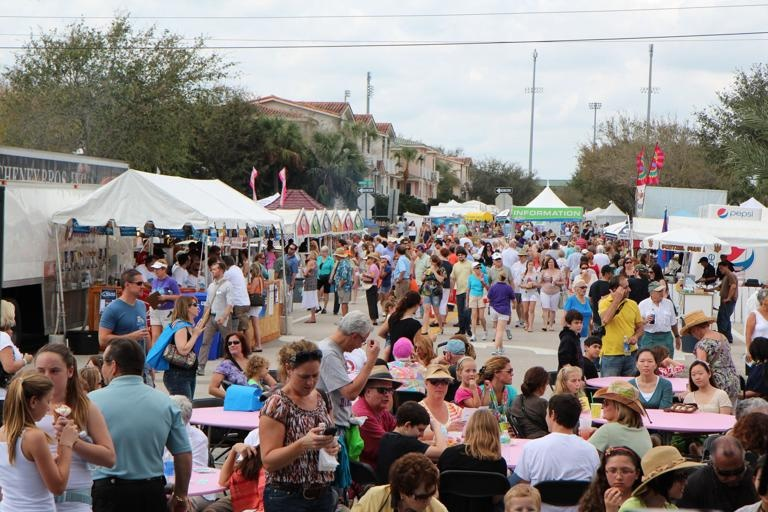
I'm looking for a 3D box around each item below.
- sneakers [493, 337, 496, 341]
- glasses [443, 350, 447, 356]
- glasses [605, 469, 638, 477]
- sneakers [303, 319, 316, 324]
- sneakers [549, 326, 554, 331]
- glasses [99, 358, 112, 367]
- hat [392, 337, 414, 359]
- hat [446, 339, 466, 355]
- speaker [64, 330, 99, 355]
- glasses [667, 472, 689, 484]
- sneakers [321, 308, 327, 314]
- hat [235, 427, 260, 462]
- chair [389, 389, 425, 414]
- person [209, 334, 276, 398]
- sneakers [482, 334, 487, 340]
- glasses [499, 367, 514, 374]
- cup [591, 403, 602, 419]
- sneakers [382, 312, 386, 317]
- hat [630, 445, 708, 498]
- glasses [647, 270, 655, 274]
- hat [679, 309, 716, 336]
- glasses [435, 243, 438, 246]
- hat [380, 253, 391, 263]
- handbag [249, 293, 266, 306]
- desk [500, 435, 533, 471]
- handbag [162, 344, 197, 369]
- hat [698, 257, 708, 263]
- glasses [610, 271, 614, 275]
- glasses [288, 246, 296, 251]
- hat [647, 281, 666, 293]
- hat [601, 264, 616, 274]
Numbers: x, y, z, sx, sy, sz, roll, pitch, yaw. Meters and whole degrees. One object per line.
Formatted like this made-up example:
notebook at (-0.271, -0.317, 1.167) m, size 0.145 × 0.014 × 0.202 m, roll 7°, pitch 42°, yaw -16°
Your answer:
sneakers at (2.840, 2.158, 31.394) m, size 0.060 × 0.084 × 0.189 m, roll -1°, pitch -7°, yaw 6°
glasses at (1.197, 1.911, 23.877) m, size 0.062 × 0.069 × 0.029 m, roll 8°, pitch 0°, yaw 42°
glasses at (3.894, 3.510, 19.667) m, size 0.433 × 0.085 × 0.085 m, roll 1°, pitch 0°, yaw -10°
sneakers at (-2.075, 1.803, 33.646) m, size 0.336 × 0.147 × 0.119 m, roll 4°, pitch 1°, yaw 7°
sneakers at (4.494, 1.942, 32.731) m, size 0.042 × 0.118 × 0.077 m, roll -10°, pitch 40°, yaw -14°
glasses at (-4.647, 1.769, 20.185) m, size 0.216 × 0.073 × 0.227 m, roll 4°, pitch -2°, yaw -3°
hat at (0.371, 1.788, 23.736) m, size 0.280 × 0.238 × 0.437 m, roll 0°, pitch 34°, yaw 5°
hat at (1.400, 1.788, 23.739) m, size 0.343 × 0.184 × 0.247 m, roll 9°, pitch 19°, yaw 42°
speaker at (-7.156, 2.054, 28.781) m, size 0.604 × 0.483 × 0.597 m, roll 0°, pitch -2°, yaw 10°
glasses at (4.710, 3.505, 19.389) m, size 0.287 × 0.181 × 0.084 m, roll 1°, pitch 0°, yaw -28°
sneakers at (-1.761, 1.602, 35.215) m, size 0.117 × 0.122 × 0.282 m, roll 0°, pitch -7°, yaw -6°
hat at (-2.311, 3.188, 20.827) m, size 0.422 × 0.632 × 0.240 m, roll 0°, pitch -15°, yaw -9°
chair at (0.402, 2.819, 23.083) m, size 0.463 × 0.379 × 0.460 m, roll 2°, pitch 1°, yaw 2°
person at (-2.752, 2.167, 23.749) m, size 1.279 × 1.477 × 0.991 m, roll -2°, pitch -13°, yaw -1°
sneakers at (2.611, 2.109, 31.627) m, size 0.111 × 0.154 × 0.347 m, roll -1°, pitch 1°, yaw 10°
glasses at (2.319, 2.150, 22.830) m, size 0.153 × 0.114 × 0.576 m, roll 1°, pitch 0°, yaw 16°
cup at (3.992, 2.919, 22.816) m, size 0.222 × 0.251 × 0.236 m, roll 1°, pitch 0°, yaw 0°
sneakers at (-0.023, 1.647, 34.122) m, size 0.088 × 0.119 × 0.271 m, roll 0°, pitch -7°, yaw -10°
hat at (4.489, 3.461, 19.603) m, size 0.964 × 0.630 × 0.567 m, roll 1°, pitch 0°, yaw 2°
glasses at (6.172, 0.375, 28.111) m, size 0.097 × 0.078 × 0.075 m, roll 6°, pitch -5°, yaw -38°
hat at (6.276, 1.310, 24.530) m, size 0.637 × 0.258 × 0.576 m, roll -29°, pitch -7°, yaw 18°
glasses at (1.541, -0.337, 35.989) m, size 0.072 × 0.091 × 0.125 m, roll 1°, pitch -9°, yaw -6°
hat at (0.040, 0.050, 34.552) m, size 0.286 × 0.110 × 0.201 m, roll 22°, pitch -11°, yaw -37°
handbag at (-3.061, 1.035, 28.957) m, size 0.277 × 0.290 × 0.123 m, roll 0°, pitch -11°, yaw 0°
desk at (2.301, 3.530, 21.641) m, size 0.457 × 0.385 × 1.078 m, roll 1°, pitch 0°, yaw 12°
handbag at (-3.972, 1.977, 23.553) m, size 0.517 × 0.435 × 0.207 m, roll 7°, pitch 4°, yaw -16°
hat at (8.855, 0.122, 33.833) m, size 0.216 × 0.132 × 0.163 m, roll 5°, pitch 6°, yaw 21°
glasses at (5.285, 0.382, 28.244) m, size 0.048 × 0.071 × 0.210 m, roll 4°, pitch 2°, yaw 8°
glasses at (-2.613, -0.224, 34.313) m, size 0.137 × 0.155 × 0.118 m, roll -3°, pitch -1°, yaw 2°
hat at (5.855, 0.664, 26.150) m, size 0.288 × 0.161 × 0.219 m, roll -8°, pitch -5°, yaw 33°
hat at (5.168, 0.290, 27.971) m, size 0.262 × 0.149 × 0.195 m, roll -14°, pitch 4°, yaw -7°
